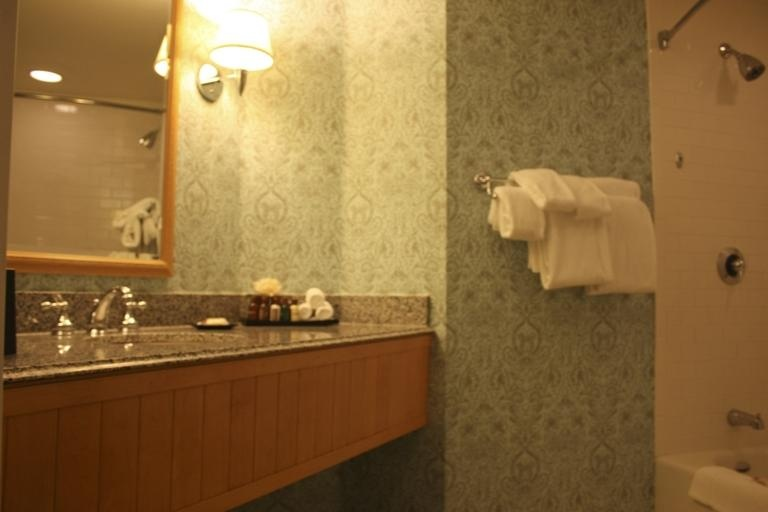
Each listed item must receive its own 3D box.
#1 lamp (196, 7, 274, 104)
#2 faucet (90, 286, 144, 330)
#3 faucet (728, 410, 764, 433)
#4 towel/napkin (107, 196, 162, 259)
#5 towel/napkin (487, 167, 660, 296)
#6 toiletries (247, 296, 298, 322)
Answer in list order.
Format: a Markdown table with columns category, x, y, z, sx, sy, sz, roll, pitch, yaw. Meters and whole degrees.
| category | x | y | z | sx | sy | sz | roll | pitch | yaw |
| --- | --- | --- | --- | --- | --- | --- | --- | --- | --- |
| lamp | -0.714 | -0.923 | 2.922 | 0.335 | 0.379 | 0.283 | -5 | -4 | 18 |
| faucet | -1.064 | 0.207 | 2.454 | 0.210 | 0.184 | 0.224 | 0 | -3 | -22 |
| faucet | 1.889 | 0.837 | 3.189 | 0.108 | 0.088 | 0.151 | 7 | -5 | -38 |
| towel/napkin | -1.054 | -0.152 | 2.614 | 0.125 | 0.119 | 0.162 | -14 | -18 | -24 |
| towel/napkin | 0.830 | -0.146 | 2.744 | 0.505 | 0.351 | 0.685 | 2 | 9 | -12 |
| toiletries | -0.527 | 0.243 | 2.891 | 0.233 | 0.130 | 0.263 | 0 | -3 | -10 |
